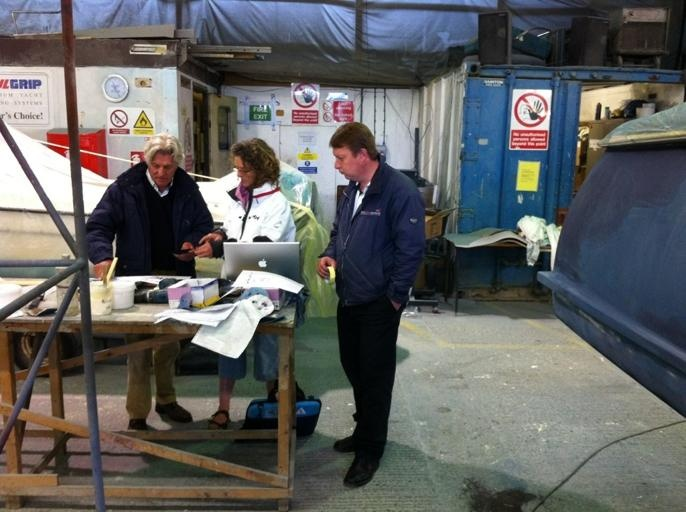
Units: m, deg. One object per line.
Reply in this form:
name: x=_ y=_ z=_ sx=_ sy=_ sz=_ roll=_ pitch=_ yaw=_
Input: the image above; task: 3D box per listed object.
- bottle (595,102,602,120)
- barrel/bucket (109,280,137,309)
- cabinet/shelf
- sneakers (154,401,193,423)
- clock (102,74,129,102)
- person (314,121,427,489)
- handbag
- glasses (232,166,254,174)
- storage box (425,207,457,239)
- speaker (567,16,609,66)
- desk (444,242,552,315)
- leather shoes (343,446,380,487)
bottle: x=4.192 y=-2.375 z=10.200 sx=0.097 sy=0.261 sz=0.316 roll=6 pitch=13 yaw=21
barrel/bucket: x=-1.456 y=0.253 z=4.160 sx=0.169 sy=0.119 sz=0.167 roll=2 pitch=6 yaw=0
cabinet/shelf: x=3.931 y=-1.555 z=9.756 sx=0.379 sy=1.133 sz=1.469 roll=3 pitch=13 yaw=11
sneakers: x=-1.397 y=1.281 z=5.190 sx=0.372 sy=0.152 sz=0.134 roll=3 pitch=10 yaw=8
clock: x=-3.053 y=-2.239 z=8.367 sx=0.348 sy=0.329 sz=0.081 roll=2 pitch=10 yaw=-1
person: x=0.208 y=0.299 z=4.520 sx=0.644 sy=2.467 sz=0.767 roll=-5 pitch=14 yaw=-25
handbag: x=-0.497 y=1.243 z=4.936 sx=0.553 sy=0.187 sz=0.365 roll=0 pitch=4 yaw=10
glasses: x=-0.792 y=-0.669 z=4.870 sx=0.157 sy=0.044 sz=0.058 roll=7 pitch=14 yaw=26
storage box: x=1.193 y=-0.418 z=7.781 sx=0.418 sy=0.242 sz=0.540 roll=2 pitch=10 yaw=19
speaker: x=3.373 y=-2.925 z=8.533 sx=0.501 sy=0.672 sz=0.565 roll=5 pitch=13 yaw=20
desk: x=2.110 y=0.252 z=8.522 sx=1.276 sy=0.729 sz=0.958 roll=0 pitch=4 yaw=0
leather shoes: x=0.131 y=1.495 z=4.398 sx=0.122 sy=0.148 sz=0.355 roll=6 pitch=-8 yaw=19
